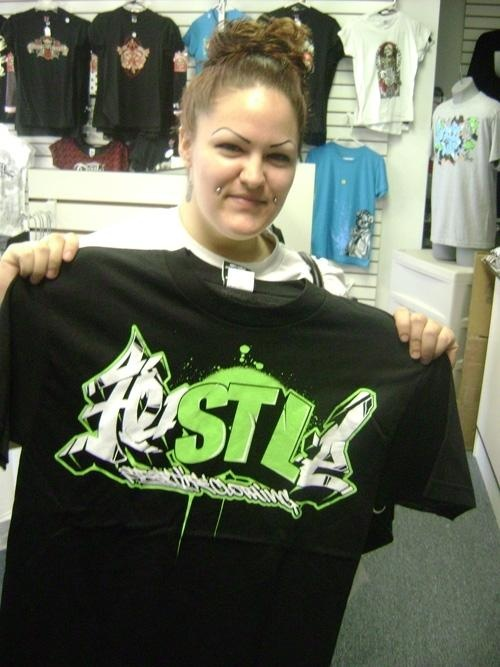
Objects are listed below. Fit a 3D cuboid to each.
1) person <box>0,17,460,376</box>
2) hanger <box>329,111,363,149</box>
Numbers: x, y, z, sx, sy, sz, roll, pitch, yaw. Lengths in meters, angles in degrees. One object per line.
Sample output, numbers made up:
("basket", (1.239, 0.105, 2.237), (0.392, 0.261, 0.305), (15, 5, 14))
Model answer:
("person", (-0.023, -0.305, 1.037), (0.771, 0.612, 0.442), (1, 12, -3))
("hanger", (0.695, -1.491, 3.872), (0.253, 0.212, 0.118), (0, 11, 1))
